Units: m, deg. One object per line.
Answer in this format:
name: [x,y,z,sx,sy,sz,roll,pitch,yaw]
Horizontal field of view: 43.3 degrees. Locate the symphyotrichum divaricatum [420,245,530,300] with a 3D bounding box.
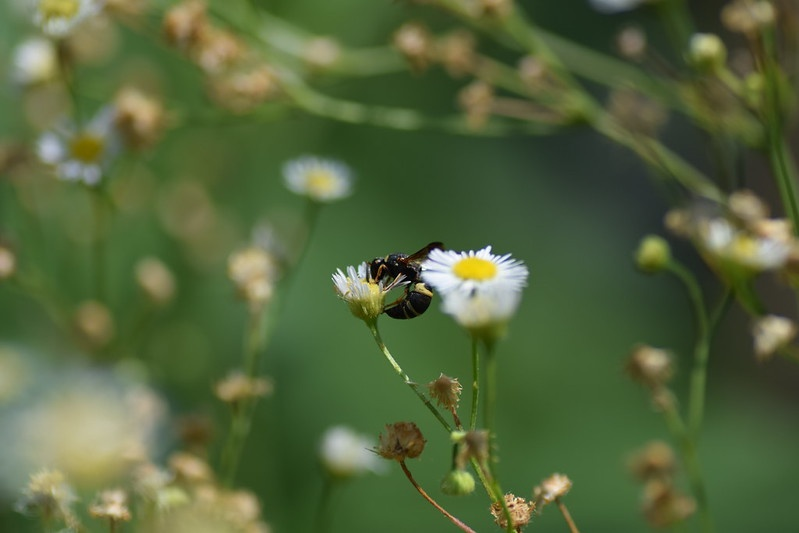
symphyotrichum divaricatum: [0.092,0.006,1.224,0.127,0.084,0.047,6,-26,-5]

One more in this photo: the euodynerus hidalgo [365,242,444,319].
euodynerus hidalgo: [0.012,0.019,1.341,0.129,0.145,0.075,5,-69,-4]
